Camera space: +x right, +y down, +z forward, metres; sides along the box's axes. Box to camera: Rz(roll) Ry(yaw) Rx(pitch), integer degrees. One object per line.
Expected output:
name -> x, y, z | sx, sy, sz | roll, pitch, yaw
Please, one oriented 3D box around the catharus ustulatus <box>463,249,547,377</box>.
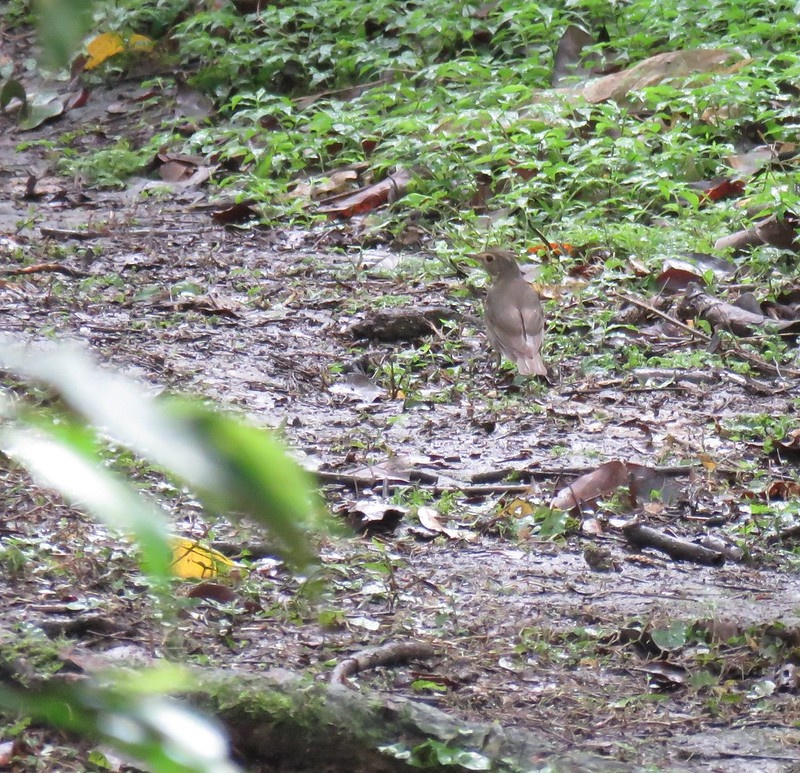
catharus ustulatus -> 0.535, -0.351, 5.731 | 0.276, 0.572, 1.032 | -3, 7, 6
